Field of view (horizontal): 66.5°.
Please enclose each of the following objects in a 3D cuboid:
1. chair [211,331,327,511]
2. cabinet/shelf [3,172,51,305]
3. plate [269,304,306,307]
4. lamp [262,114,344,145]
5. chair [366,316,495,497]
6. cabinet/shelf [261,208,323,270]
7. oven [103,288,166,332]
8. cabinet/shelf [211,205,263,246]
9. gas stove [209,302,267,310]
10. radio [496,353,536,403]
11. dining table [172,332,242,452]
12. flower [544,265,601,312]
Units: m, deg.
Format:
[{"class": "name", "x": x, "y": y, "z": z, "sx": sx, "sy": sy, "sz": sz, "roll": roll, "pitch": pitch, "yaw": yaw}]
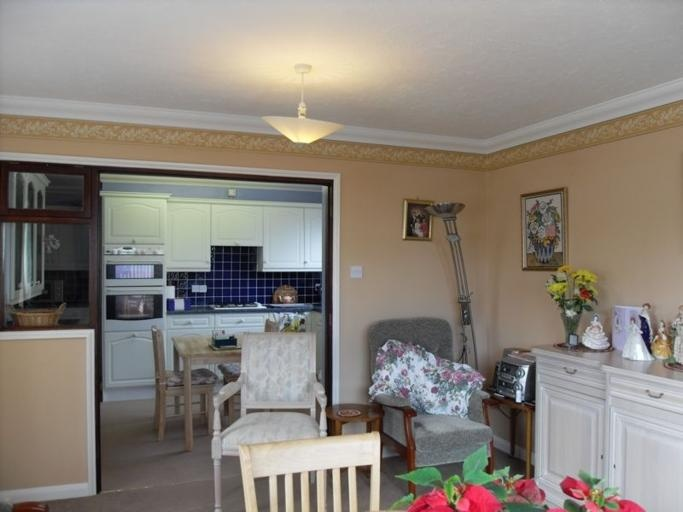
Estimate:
[{"class": "chair", "x": -0.556, "y": 1.263, "z": 4.373, "sx": 1.192, "sy": 1.661, "sz": 1.193, "roll": 0, "pitch": -8, "yaw": -3}, {"class": "cabinet/shelf", "x": -2.550, "y": -0.141, "z": 4.234, "sx": 0.351, "sy": 1.072, "sz": 0.110, "roll": -2, "pitch": 4, "yaw": -27}, {"class": "plate", "x": -0.777, "y": 0.720, "z": 7.408, "sx": 0.517, "sy": 0.030, "sz": 0.303, "roll": -1, "pitch": 3, "yaw": -6}, {"class": "lamp", "x": -0.256, "y": -0.833, "z": 3.416, "sx": 0.299, "sy": 0.087, "sz": 0.293, "roll": 1, "pitch": -2, "yaw": -13}, {"class": "chair", "x": 0.641, "y": 1.204, "z": 4.636, "sx": 1.225, "sy": 1.498, "sz": 1.300, "roll": 2, "pitch": -6, "yaw": -15}, {"class": "cabinet/shelf", "x": -0.743, "y": -0.248, "z": 7.368, "sx": 0.921, "sy": 0.826, "sz": 0.332, "roll": 0, "pitch": 2, "yaw": -16}, {"class": "oven", "x": -2.652, "y": 0.580, "z": 6.623, "sx": 0.753, "sy": 0.497, "sz": 0.491, "roll": 1, "pitch": -4, "yaw": -27}, {"class": "cabinet/shelf", "x": -1.510, "y": -0.263, "z": 7.397, "sx": 0.845, "sy": 0.676, "sz": 0.497, "roll": 1, "pitch": -1, "yaw": -23}, {"class": "gas stove", "x": -1.404, "y": 0.714, "z": 7.191, "sx": 0.778, "sy": 0.052, "sz": 0.532, "roll": -1, "pitch": 3, "yaw": -18}, {"class": "radio", "x": 1.467, "y": 1.044, "z": 4.476, "sx": 0.181, "sy": 0.356, "sz": 0.364, "roll": -2, "pitch": 4, "yaw": -25}, {"class": "dining table", "x": -1.481, "y": 1.272, "z": 5.428, "sx": 0.893, "sy": 0.999, "sz": 1.202, "roll": 2, "pitch": -3, "yaw": -17}, {"class": "flower", "x": 1.851, "y": 0.255, "z": 4.227, "sx": 0.376, "sy": 0.372, "sz": 0.378, "roll": -1, "pitch": 14, "yaw": 32}]
